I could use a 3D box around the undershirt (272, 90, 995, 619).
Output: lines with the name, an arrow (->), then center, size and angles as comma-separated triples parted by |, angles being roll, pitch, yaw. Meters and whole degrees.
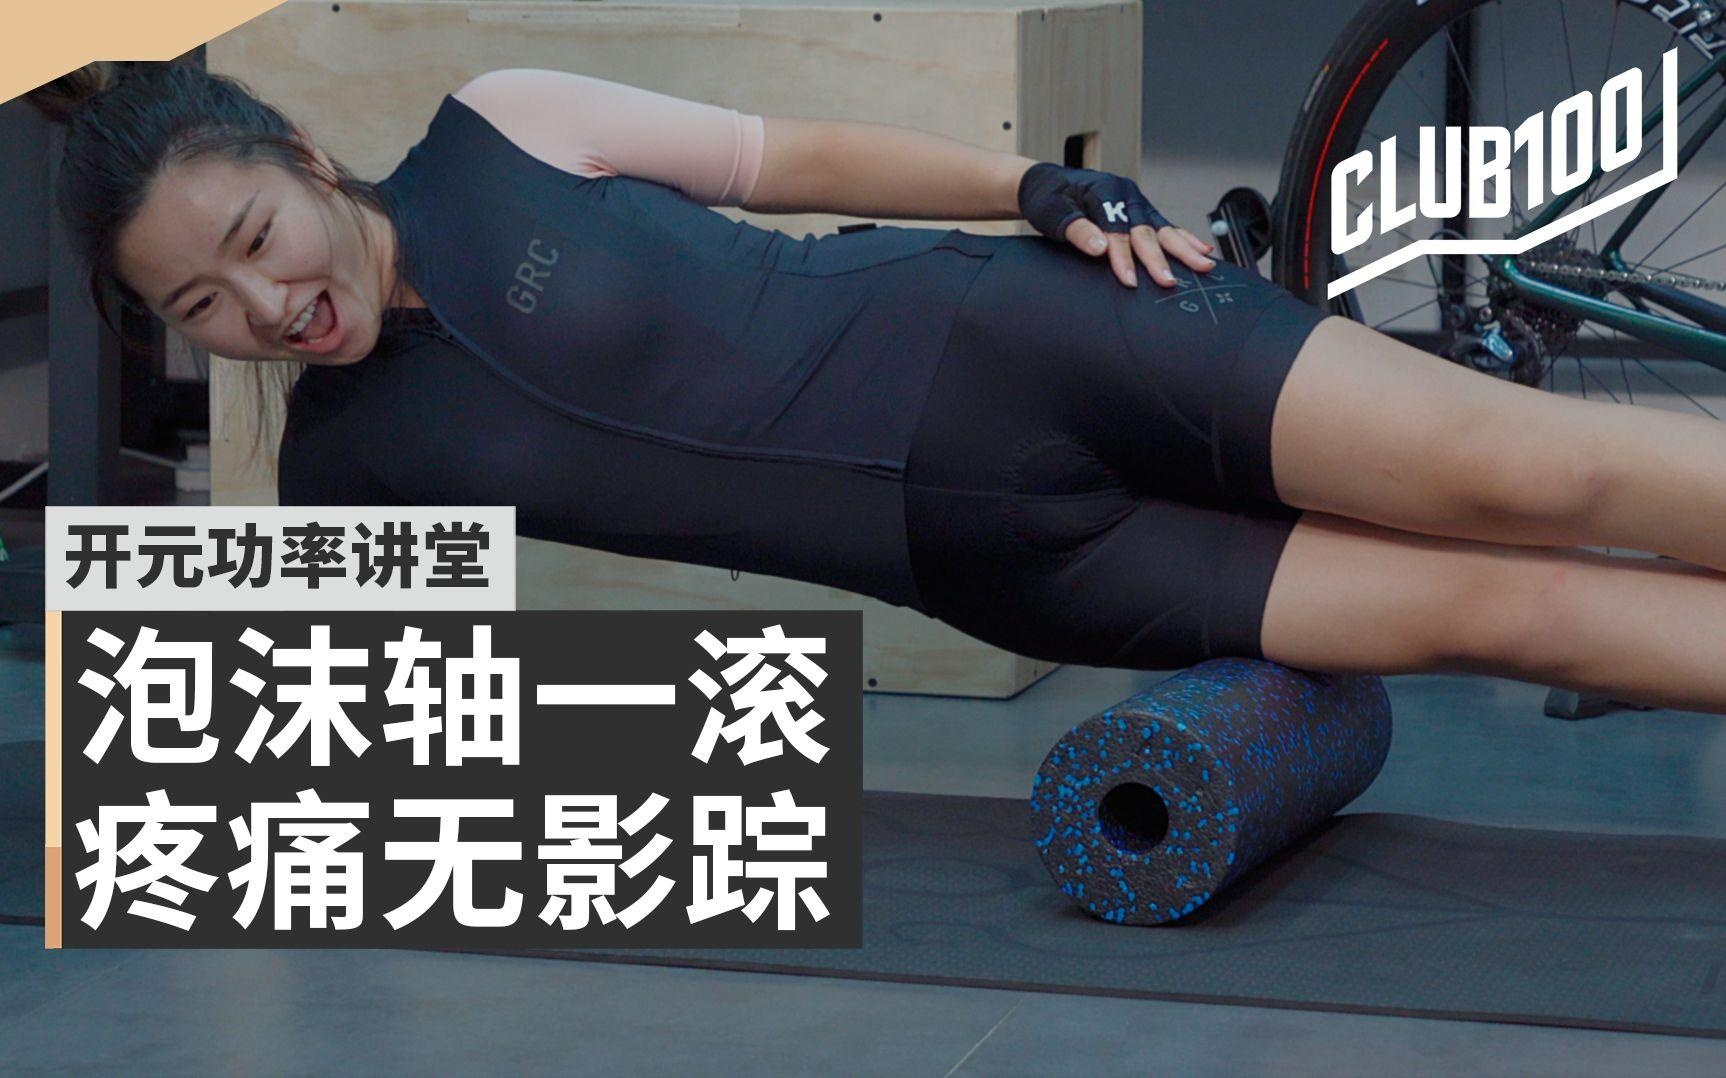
undershirt -> -0.273, -0.217, 1.874 | 0.732, 0.501, 0.280 | 5, 8, -11
